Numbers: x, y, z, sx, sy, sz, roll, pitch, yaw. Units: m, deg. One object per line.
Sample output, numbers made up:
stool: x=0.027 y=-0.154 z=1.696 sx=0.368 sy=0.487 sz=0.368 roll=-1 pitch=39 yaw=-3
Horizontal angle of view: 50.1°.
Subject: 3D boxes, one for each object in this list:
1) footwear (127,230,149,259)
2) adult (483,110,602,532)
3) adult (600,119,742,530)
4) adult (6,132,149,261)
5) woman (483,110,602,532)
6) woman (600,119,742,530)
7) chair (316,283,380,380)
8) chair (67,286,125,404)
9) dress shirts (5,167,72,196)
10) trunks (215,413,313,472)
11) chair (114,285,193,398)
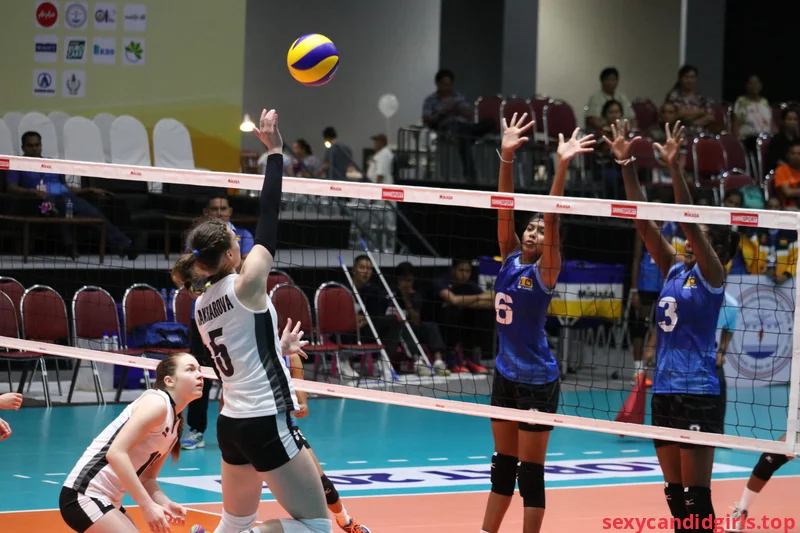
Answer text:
footwear: x=-3.699 y=-0.340 z=12.159 sx=0.127 sy=0.411 sz=0.269 roll=9 pitch=-3 yaw=-23
adult: x=1.082 y=0.590 z=7.284 sx=0.731 sy=3.825 sz=0.829 roll=1 pitch=6 yaw=10
adult: x=2.310 y=0.545 z=7.320 sx=0.937 sy=3.590 sz=1.027 roll=2 pitch=6 yaw=22
adult: x=-4.704 y=-1.039 z=12.112 sx=2.182 sy=1.405 sz=1.189 roll=21 pitch=11 yaw=39
woman: x=1.083 y=0.589 z=7.288 sx=0.732 sy=3.825 sz=0.837 roll=1 pitch=6 yaw=10
woman: x=2.317 y=0.545 z=7.292 sx=0.982 sy=3.597 sz=1.024 roll=1 pitch=6 yaw=17
chair: x=-0.720 y=1.039 z=12.152 sx=0.777 sy=1.652 sz=0.933 roll=-3 pitch=-1 yaw=-35
chair: x=-3.968 y=1.079 z=11.596 sx=0.734 sy=1.623 sz=0.758 roll=0 pitch=-2 yaw=11
dress shirts: x=-4.938 y=-1.192 z=11.859 sx=0.771 sy=0.314 sz=0.600 roll=0 pitch=0 yaw=18
trunks: x=-1.004 y=1.124 z=6.161 sx=0.555 sy=0.438 sz=0.417 roll=-1 pitch=7 yaw=32
chair: x=-3.113 y=1.016 z=11.089 sx=1.015 sy=1.565 sz=0.955 roll=2 pitch=-2 yaw=30
